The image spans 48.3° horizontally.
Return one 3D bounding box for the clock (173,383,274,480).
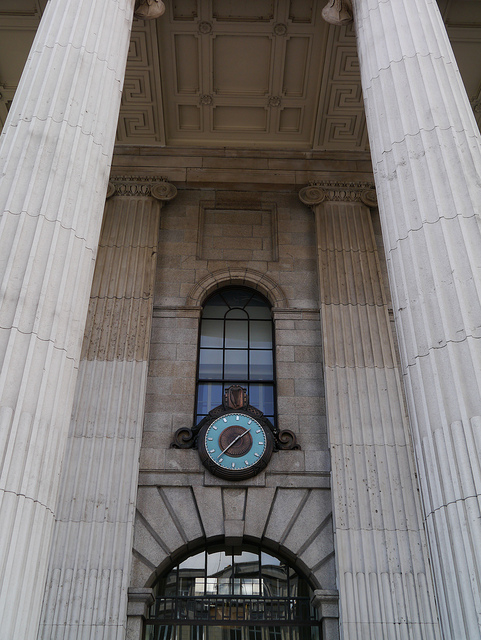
[{"bbox_3d":[-0.285,1.653,7.730,1.449,1.314,0.190,0,-44,-5],"label":"clock"}]
